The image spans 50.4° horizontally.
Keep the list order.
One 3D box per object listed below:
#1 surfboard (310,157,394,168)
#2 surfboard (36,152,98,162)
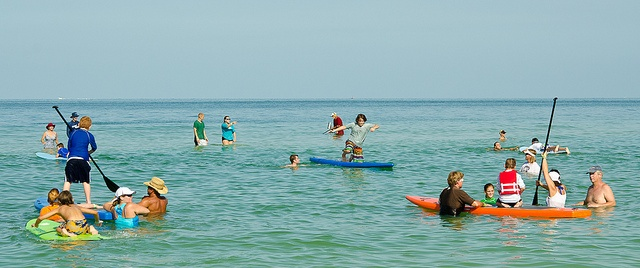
[{"bbox_3d":[3.036,2.697,65.333,8.149,0.979,2.720,0,0,7],"label":"surfboard"},{"bbox_3d":[-23.353,2.088,62.217,3.926,0.386,0.898,6,8,15],"label":"surfboard"}]
